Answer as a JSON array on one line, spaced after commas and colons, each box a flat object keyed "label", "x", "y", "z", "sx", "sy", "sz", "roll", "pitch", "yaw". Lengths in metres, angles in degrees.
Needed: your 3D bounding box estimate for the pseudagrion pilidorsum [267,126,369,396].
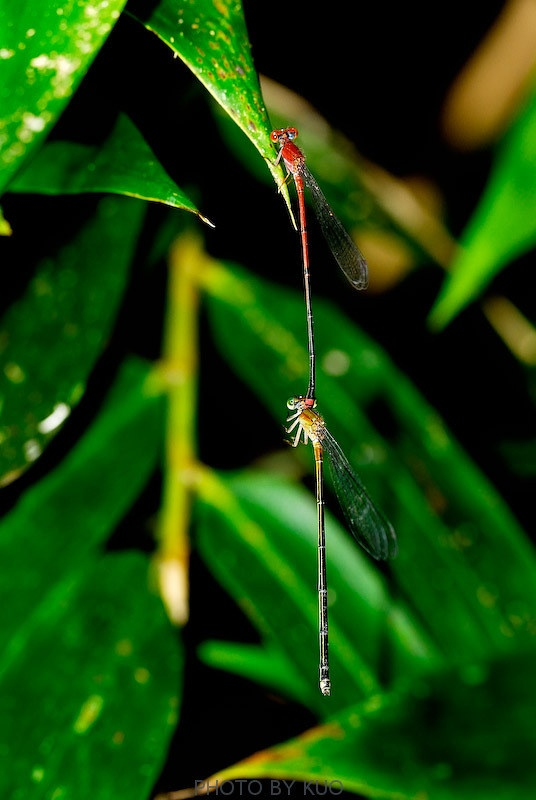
[{"label": "pseudagrion pilidorsum", "x": 0.065, "y": -0.150, "z": 0.753, "sx": 0.085, "sy": 0.281, "sz": 0.034, "roll": -8, "pitch": 7, "yaw": 34}]
